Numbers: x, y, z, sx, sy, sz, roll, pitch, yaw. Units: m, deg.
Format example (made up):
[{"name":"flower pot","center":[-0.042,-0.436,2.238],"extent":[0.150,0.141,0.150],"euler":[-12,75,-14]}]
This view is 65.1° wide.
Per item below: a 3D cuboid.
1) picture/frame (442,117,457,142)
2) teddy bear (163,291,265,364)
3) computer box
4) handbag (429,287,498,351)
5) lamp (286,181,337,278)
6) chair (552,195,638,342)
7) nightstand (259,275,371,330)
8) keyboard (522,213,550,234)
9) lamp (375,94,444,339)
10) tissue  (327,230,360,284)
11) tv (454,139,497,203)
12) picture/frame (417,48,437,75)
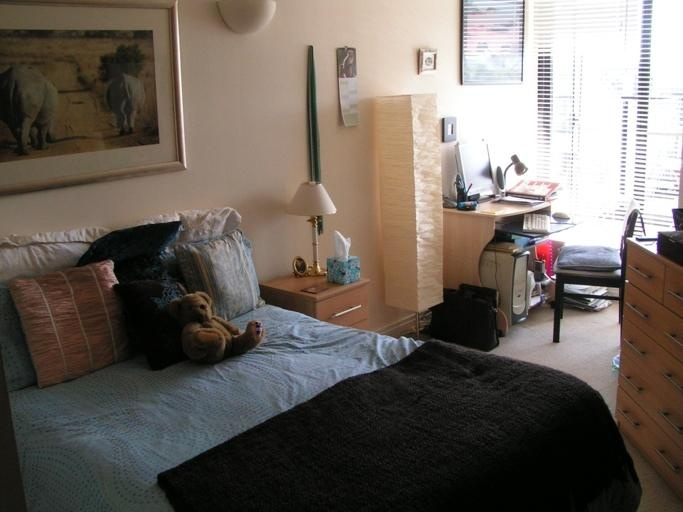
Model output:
[{"name":"picture/frame","center":[0.906,-1.074,4.527],"extent":[0.024,0.227,0.194],"euler":[7,13,38]},{"name":"teddy bear","center":[-0.597,0.288,2.538],"extent":[0.385,0.337,0.299],"euler":[-8,21,-36]},{"name":"computer box","center":[1.284,0.188,4.297],"extent":[0.356,0.643,0.349],"euler":[12,19,29]},{"name":"handbag","center":[0.920,0.481,4.086],"extent":[0.531,0.441,0.439],"euler":[17,22,40]},{"name":"lamp","center":[-0.197,-0.179,3.569],"extent":[0.298,0.641,0.377],"euler":[-5,17,-7]},{"name":"chair","center":[1.873,0.072,4.051],"extent":[0.670,1.089,0.574],"euler":[3,11,25]},{"name":"nightstand","center":[-0.220,0.294,3.514],"extent":[0.604,0.335,0.552],"euler":[-11,20,-42]},{"name":"keyboard","center":[1.591,-0.262,4.379],"extent":[0.162,0.048,0.240],"euler":[7,27,22]},{"name":"lamp","center":[0.560,-0.429,4.136],"extent":[0.404,2.061,0.399],"euler":[7,13,41]},{"name":"tissue ","center":[0.009,0.032,3.494],"extent":[0.181,0.360,0.152],"euler":[-12,21,-35]},{"name":"tv","center":[1.137,-0.715,4.603],"extent":[0.158,0.506,0.467],"euler":[-1,17,44]},{"name":"picture/frame","center":[0.670,-1.546,4.240],"extent":[0.021,0.175,0.199],"euler":[17,28,41]}]
